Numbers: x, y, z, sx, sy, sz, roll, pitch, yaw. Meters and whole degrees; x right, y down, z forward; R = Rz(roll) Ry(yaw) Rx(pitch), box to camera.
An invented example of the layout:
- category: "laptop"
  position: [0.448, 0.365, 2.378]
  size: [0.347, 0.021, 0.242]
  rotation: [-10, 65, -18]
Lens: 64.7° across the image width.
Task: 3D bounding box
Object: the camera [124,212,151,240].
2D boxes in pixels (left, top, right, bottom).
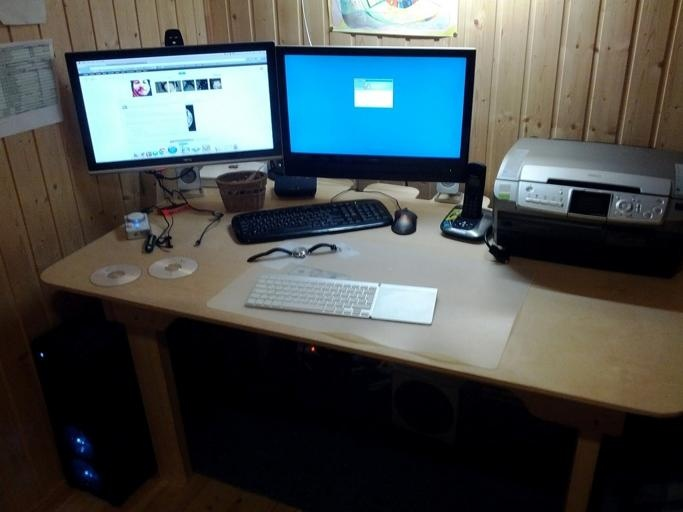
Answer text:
- category: "camera"
  position: [-0.767, -0.117, 2.006]
  size: [0.077, 0.053, 0.109]
  rotation: [-11, 43, -14]

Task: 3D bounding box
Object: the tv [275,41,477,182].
- category: "tv"
  position: [0.129, -0.540, 2.011]
  size: [0.533, 0.399, 0.061]
  rotation: [3, 29, 6]

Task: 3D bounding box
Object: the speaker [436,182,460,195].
- category: "speaker"
  position: [0.440, -0.291, 2.260]
  size: [0.081, 0.084, 0.046]
  rotation: [7, 10, 13]

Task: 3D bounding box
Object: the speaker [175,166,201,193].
- category: "speaker"
  position: [-0.648, -0.322, 2.280]
  size: [0.097, 0.102, 0.181]
  rotation: [6, 0, -14]

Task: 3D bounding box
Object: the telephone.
- category: "telephone"
  position: [0.467, -0.202, 2.045]
  size: [0.169, 0.236, 0.207]
  rotation: [15, 53, 22]
